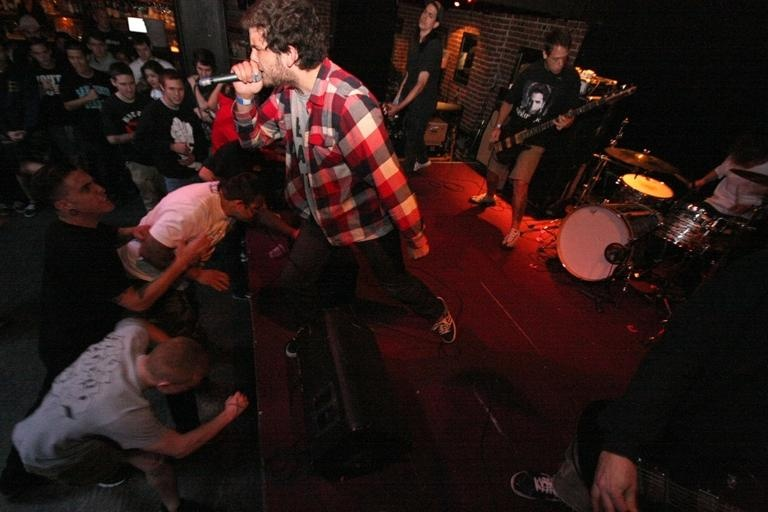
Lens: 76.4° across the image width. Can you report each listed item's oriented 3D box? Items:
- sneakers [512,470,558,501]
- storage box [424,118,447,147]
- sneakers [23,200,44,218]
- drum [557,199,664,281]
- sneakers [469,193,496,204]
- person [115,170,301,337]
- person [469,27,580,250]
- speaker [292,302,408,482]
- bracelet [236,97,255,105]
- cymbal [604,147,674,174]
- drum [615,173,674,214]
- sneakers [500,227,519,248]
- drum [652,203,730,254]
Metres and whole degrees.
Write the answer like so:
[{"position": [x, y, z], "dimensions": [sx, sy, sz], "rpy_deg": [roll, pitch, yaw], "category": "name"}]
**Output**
[{"position": [0.931, 1.526, 3.290], "dimensions": [0.433, 0.143, 0.125], "rpy_deg": [9, 80, -6], "category": "sneakers"}, {"position": [0.651, -1.774, 6.897], "dimensions": [0.392, 0.349, 0.352], "rpy_deg": [0, 55, -5], "category": "storage box"}, {"position": [-3.647, -0.483, 5.025], "dimensions": [0.134, 0.097, 0.195], "rpy_deg": [-11, 48, 7], "category": "sneakers"}, {"position": [2.275, -0.165, 4.611], "dimensions": [0.989, 0.743, 0.693], "rpy_deg": [0, 23, -20], "category": "drum"}, {"position": [1.137, -0.667, 5.624], "dimensions": [0.285, 0.107, 0.117], "rpy_deg": [7, 44, 8], "category": "sneakers"}, {"position": [-1.507, 0.058, 4.063], "dimensions": [1.375, 1.689, 0.805], "rpy_deg": [-15, 49, -42], "category": "person"}, {"position": [1.528, -1.242, 4.985], "dimensions": [0.686, 1.928, 1.208], "rpy_deg": [5, 38, -11], "category": "person"}, {"position": [-0.260, 0.937, 3.380], "dimensions": [0.623, 0.737, 0.905], "rpy_deg": [-3, 38, -20], "category": "speaker"}, {"position": [-0.999, -1.077, 3.436], "dimensions": [0.074, 0.025, 0.069], "rpy_deg": [9, 15, 7], "category": "bracelet"}, {"position": [2.563, -0.876, 4.847], "dimensions": [0.448, 0.080, 0.414], "rpy_deg": [-4, 38, -29], "category": "cymbal"}, {"position": [2.434, -0.649, 4.817], "dimensions": [0.390, 0.315, 0.332], "rpy_deg": [-5, 10, 4], "category": "drum"}, {"position": [1.270, -0.169, 4.888], "dimensions": [0.117, 0.111, 0.268], "rpy_deg": [36, 57, 15], "category": "sneakers"}, {"position": [2.690, -0.245, 4.216], "dimensions": [0.498, 0.376, 0.297], "rpy_deg": [25, 39, 18], "category": "drum"}]
